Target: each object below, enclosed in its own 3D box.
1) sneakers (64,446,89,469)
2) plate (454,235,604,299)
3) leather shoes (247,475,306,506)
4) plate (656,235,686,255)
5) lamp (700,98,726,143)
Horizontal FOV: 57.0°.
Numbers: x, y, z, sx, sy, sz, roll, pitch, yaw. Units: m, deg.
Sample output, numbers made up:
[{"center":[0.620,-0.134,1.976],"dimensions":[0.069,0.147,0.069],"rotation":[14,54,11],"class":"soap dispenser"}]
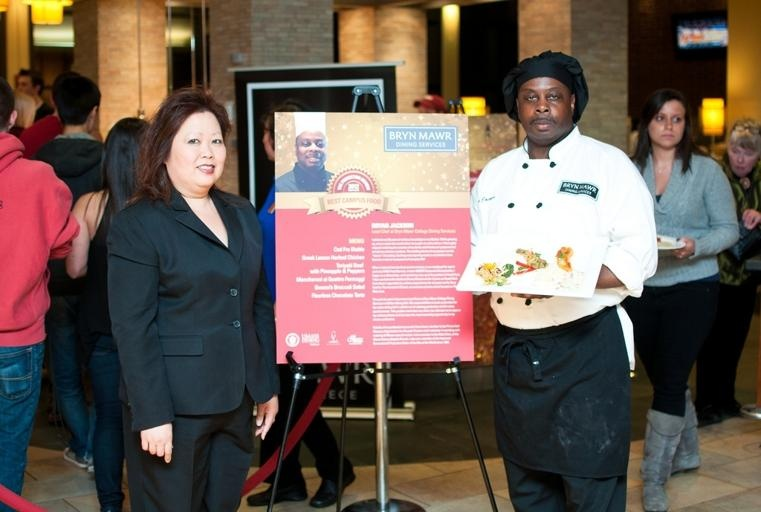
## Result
[{"center":[-1.963,1.300,4.517],"dimensions":[0.205,0.080,0.077],"rotation":[27,19,24],"class":"sneakers"},{"center":[0.623,0.031,2.898],"dimensions":[0.562,0.222,0.292],"rotation":[2,9,21],"class":"plate"},{"center":[-0.571,1.384,4.185],"dimensions":[0.474,0.187,0.166],"rotation":[3,-9,-19],"class":"leather shoes"},{"center":[1.603,-0.049,3.857],"dimensions":[0.134,0.134,0.383],"rotation":[2,8,23],"class":"plate"},{"center":[5.608,-2.339,11.820],"dimensions":[0.483,0.576,0.472],"rotation":[0,12,15],"class":"lamp"}]
